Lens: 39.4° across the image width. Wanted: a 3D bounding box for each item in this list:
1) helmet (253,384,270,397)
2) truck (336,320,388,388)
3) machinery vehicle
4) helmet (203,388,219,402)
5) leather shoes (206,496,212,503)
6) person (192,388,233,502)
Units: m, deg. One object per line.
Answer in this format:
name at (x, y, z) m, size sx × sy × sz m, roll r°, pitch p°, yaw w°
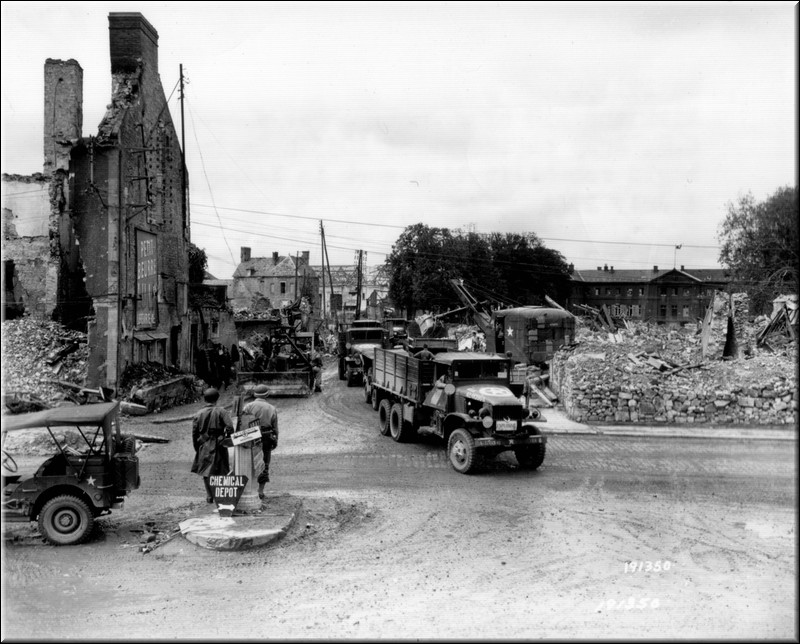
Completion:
helmet at (-2.952, 1.453, 23.784) m, size 0.283 × 0.228 × 0.419 m, roll 7°, pitch 15°, yaw -2°
truck at (-1.479, 1.055, 45.255) m, size 1.322 × 1.970 × 3.261 m, roll 0°, pitch -1°, yaw -4°
machinery vehicle at (-4.268, 1.048, 42.832) m, size 2.233 × 2.599 × 5.835 m, roll 0°, pitch 9°, yaw 0°
helmet at (-3.788, 1.479, 22.390) m, size 0.254 × 0.283 × 0.304 m, roll -8°, pitch -6°, yaw 4°
leather shoes at (-3.926, 3.672, 23.110) m, size 0.178 × 0.142 × 0.198 m, roll 1°, pitch -3°, yaw -19°
person at (-3.788, 2.581, 22.605) m, size 0.797 × 1.821 × 0.404 m, roll 1°, pitch 9°, yaw 7°
